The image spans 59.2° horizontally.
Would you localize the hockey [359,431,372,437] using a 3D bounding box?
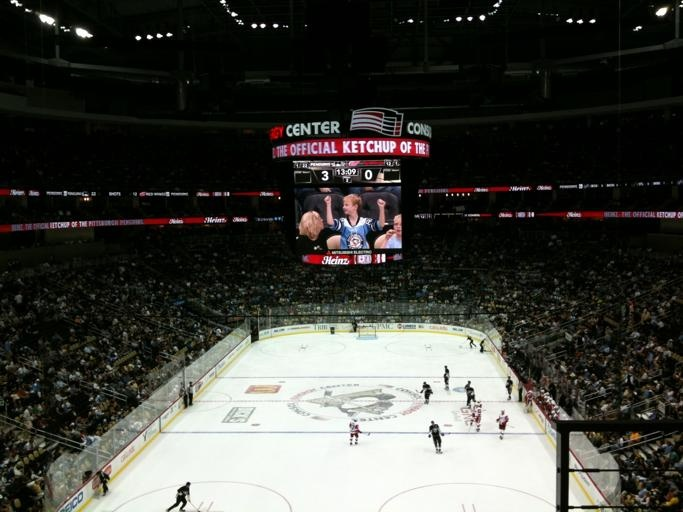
[{"bbox_3d":[1.168,8.550,28.985,0.644,0.110,0.408,-1,13,1],"label":"hockey"}]
